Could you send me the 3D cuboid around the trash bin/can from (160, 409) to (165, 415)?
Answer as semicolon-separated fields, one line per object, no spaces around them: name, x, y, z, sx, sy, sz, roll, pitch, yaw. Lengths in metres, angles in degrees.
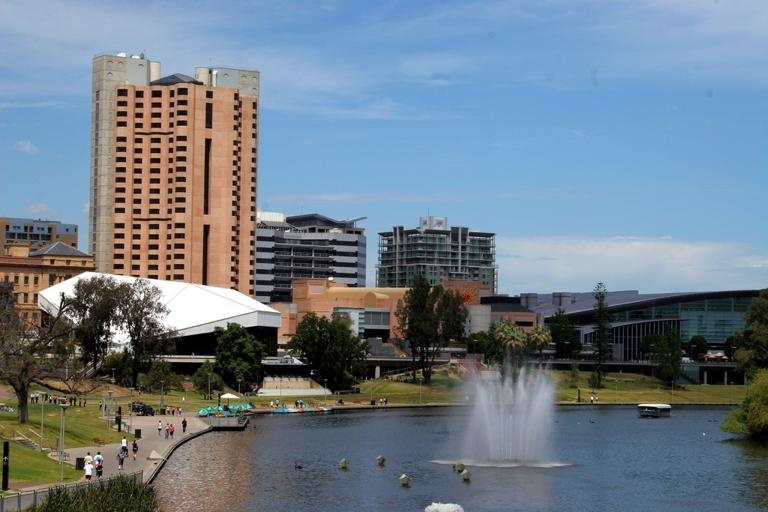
trash bin/can;-38.618;27.198;223.622;1.207;1.007;0.788;5;-8;-30

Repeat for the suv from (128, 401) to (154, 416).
suv;-42.092;26.539;222.625;3.515;1.452;2.137;2;0;35

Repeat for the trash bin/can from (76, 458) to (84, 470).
trash bin/can;-41.168;28.024;172.752;1.219;1.550;1.086;0;-1;3

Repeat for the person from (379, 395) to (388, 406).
person;-0.057;29.866;262.222;1.492;1.387;1.184;4;-5;2

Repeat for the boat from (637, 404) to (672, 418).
boat;53.600;30.773;254.669;4.236;1.459;3.560;1;-3;22
